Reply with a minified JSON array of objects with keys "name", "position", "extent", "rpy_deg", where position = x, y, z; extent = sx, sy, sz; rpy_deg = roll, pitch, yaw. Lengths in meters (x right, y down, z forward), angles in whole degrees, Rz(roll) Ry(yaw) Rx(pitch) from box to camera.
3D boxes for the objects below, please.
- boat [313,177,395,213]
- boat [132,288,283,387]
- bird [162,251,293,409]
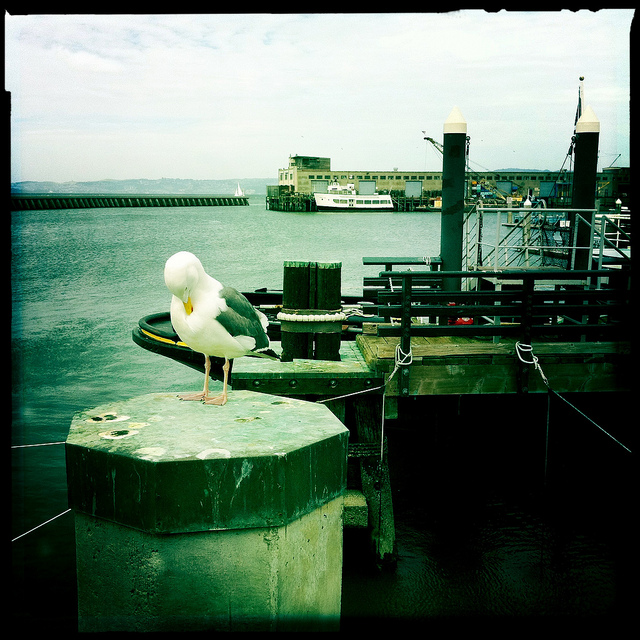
[{"name":"boat","position":[2.326,-16.098,115.787],"extent":[13.101,5.650,3.872],"rpy_deg":[1,4,-7]},{"name":"boat","position":[-1.337,0.292,13.055],"extent":[2.946,0.968,1.288],"rpy_deg":[0,12,-9]},{"name":"bird","position":[-0.793,0.087,7.357],"extent":[0.600,1.189,1.394],"rpy_deg":[8,6,34]}]
